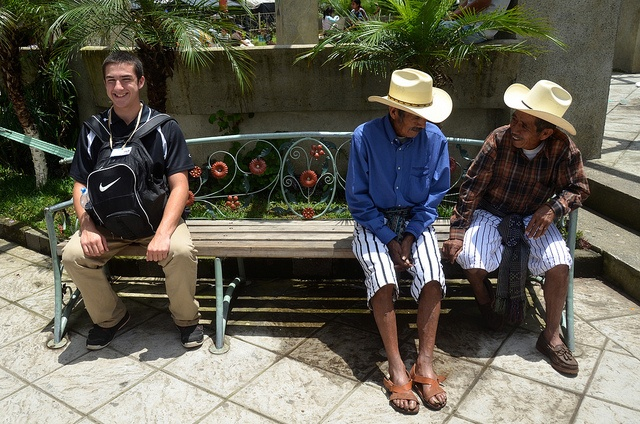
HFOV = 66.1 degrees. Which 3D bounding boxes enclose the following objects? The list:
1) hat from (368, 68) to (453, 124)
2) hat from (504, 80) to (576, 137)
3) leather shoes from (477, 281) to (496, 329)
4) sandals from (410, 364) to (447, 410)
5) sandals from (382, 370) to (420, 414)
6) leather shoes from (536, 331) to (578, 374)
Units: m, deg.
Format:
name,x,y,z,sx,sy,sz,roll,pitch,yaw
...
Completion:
name,x,y,z,sx,sy,sz,roll,pitch,yaw
hat,0.761,-0.903,3.842,0.674,0.389,0.395,-11,25,-21
hat,1.785,-0.764,4.016,0.544,0.232,0.503,9,-2,35
leather shoes,1.456,0.811,4.294,0.118,0.417,0.147,-13,2,-39
sandals,0.817,1.309,3.721,0.174,0.137,0.482,-8,6,-11
sandals,0.612,1.344,3.715,0.205,0.109,0.497,0,3,4
leather shoes,1.929,1.134,3.960,0.179,0.147,0.411,-7,16,0
